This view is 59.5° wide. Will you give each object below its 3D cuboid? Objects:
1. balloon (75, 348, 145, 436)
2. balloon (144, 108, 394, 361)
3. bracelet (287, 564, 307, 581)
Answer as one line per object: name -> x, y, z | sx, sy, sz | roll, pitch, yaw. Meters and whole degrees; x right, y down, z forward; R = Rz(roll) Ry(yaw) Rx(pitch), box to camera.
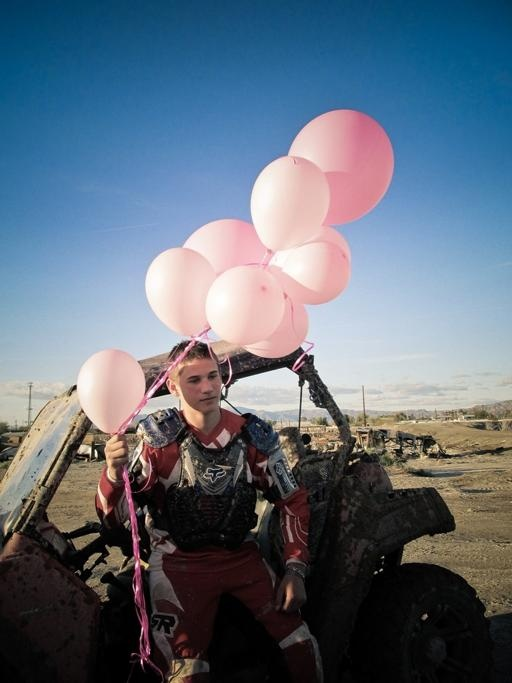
balloon -> -0.650, 0.230, 2.035 | 0.294, 0.390, 0.301 | 3, -10, -14
balloon -> 0.123, -0.656, 2.636 | 1.409, 1.461, 0.632 | 3, -10, -14
bracelet -> 0.207, 1.134, 2.214 | 0.092, 0.074, 0.067 | 16, -13, -29
